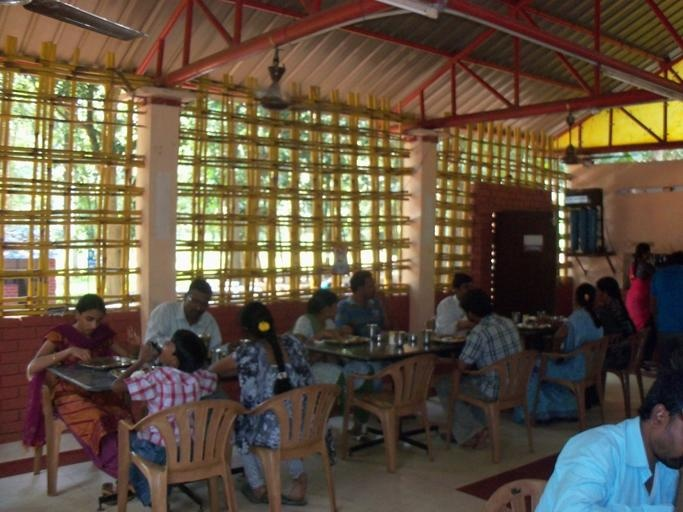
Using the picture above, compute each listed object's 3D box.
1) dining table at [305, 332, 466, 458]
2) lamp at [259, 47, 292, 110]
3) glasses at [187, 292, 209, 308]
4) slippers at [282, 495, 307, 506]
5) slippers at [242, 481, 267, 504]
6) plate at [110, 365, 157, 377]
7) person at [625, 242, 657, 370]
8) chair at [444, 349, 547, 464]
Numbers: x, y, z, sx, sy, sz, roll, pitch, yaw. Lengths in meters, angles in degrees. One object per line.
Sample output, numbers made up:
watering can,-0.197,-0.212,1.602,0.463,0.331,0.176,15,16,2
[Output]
dining table,0.318,1.047,5.595,1.158,0.729,1.184,3,4,44
lamp,-0.602,-1.595,5.313,0.254,0.557,0.353,1,4,14
glasses,-1.222,0.375,5.106,0.195,0.149,0.135,-1,4,-14
slippers,-0.359,1.824,4.465,0.150,0.021,0.075,1,12,7
slippers,-0.670,1.807,4.557,0.118,0.039,0.150,-1,7,-37
plate,-1.610,0.855,4.444,0.159,0.046,0.236,-1,-4,10
person,4.024,0.552,8.072,0.424,1.583,0.415,-14,26,-2
chair,1.517,1.277,5.766,0.884,1.276,0.909,-1,3,-36
